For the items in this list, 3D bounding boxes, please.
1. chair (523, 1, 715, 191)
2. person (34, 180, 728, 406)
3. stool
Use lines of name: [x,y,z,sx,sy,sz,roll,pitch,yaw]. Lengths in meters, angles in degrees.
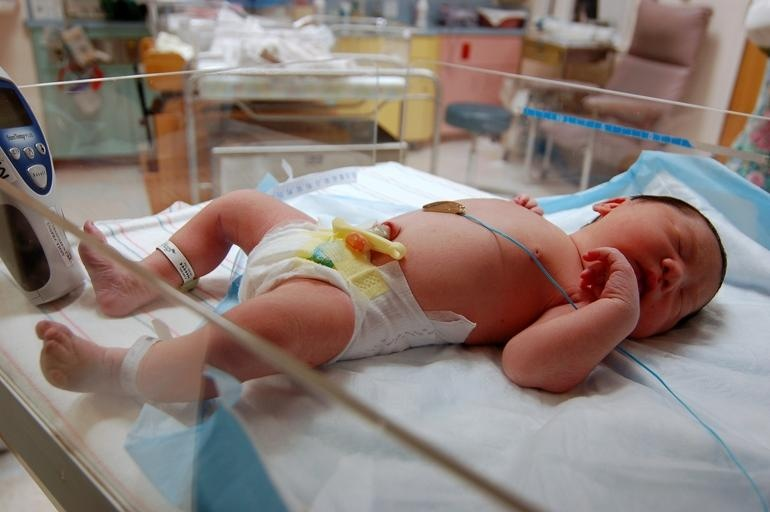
chair: [1.015,-0.725,2.383,0.410,0.513,1.667,19,29,21]
person: [0.074,0.072,1.187,1.015,0.289,0.556,-1,28,-11]
stool: [0.306,-0.379,2.061,0.204,0.310,0.197,-1,16,-3]
